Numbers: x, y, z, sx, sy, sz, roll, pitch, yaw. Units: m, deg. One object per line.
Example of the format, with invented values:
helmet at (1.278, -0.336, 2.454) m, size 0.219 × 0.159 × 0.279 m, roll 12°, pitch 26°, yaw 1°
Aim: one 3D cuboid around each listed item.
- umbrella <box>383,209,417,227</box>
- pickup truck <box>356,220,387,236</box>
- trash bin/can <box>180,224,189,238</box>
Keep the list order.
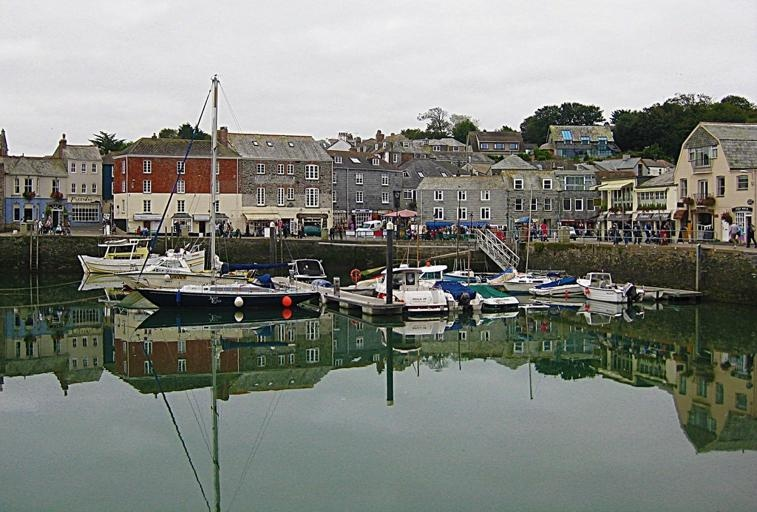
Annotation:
umbrella at (1.849, -3.308, 80.651) m, size 2.536 × 0.873 × 2.496 m, roll -1°, pitch -1°, yaw 32°
pickup truck at (-0.651, -2.278, 74.396) m, size 1.259 × 1.141 × 2.191 m, roll -1°, pitch -4°, yaw 23°
trash bin/can at (-15.672, -2.014, 74.207) m, size 0.750 × 0.765 × 1.046 m, roll 7°, pitch -43°, yaw -11°
